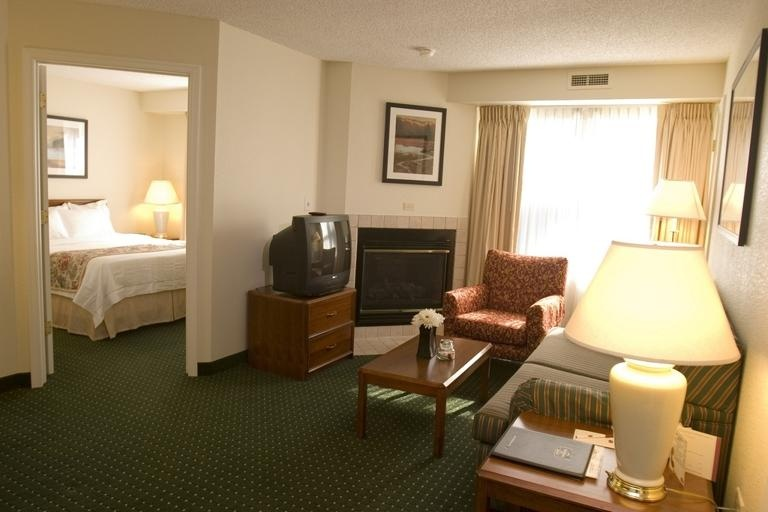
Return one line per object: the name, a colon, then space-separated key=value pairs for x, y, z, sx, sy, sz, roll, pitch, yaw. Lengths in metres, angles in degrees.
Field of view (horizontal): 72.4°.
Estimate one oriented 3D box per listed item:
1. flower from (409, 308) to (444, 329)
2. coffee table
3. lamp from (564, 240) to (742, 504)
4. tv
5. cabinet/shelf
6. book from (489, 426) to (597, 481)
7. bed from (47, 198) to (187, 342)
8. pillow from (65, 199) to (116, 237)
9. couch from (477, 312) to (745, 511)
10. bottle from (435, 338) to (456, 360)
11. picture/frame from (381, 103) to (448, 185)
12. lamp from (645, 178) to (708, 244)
flower: x=0.336 y=0.512 z=4.269 sx=0.205 sy=0.120 sz=0.200 roll=4 pitch=-4 yaw=-37
coffee table: x=0.386 y=1.083 z=4.452 sx=0.791 sy=0.533 sz=1.227 roll=6 pitch=9 yaw=31
lamp: x=1.262 y=0.550 z=2.534 sx=0.756 sy=1.217 sz=0.352 roll=4 pitch=14 yaw=18
tv: x=-0.648 y=0.000 z=5.373 sx=0.746 sy=0.977 sz=1.024 roll=3 pitch=6 yaw=28
cabinet/shelf: x=-0.846 y=0.744 z=5.374 sx=0.903 sy=0.710 sz=0.995 roll=8 pitch=9 yaw=42
book: x=0.856 y=1.021 z=2.748 sx=0.306 sy=0.021 sz=0.217 roll=8 pitch=20 yaw=31
bed: x=-3.545 y=0.025 z=6.723 sx=2.404 sy=1.222 sz=1.516 roll=11 pitch=14 yaw=37
pillow: x=-4.204 y=-0.552 z=7.491 sx=0.179 sy=0.477 sz=0.669 roll=-15 pitch=0 yaw=26
couch: x=1.470 y=0.889 z=3.330 sx=1.031 sy=0.862 sz=2.044 roll=12 pitch=16 yaw=27
bottle: x=0.504 y=0.766 z=4.310 sx=0.149 sy=0.145 sz=0.156 roll=0 pitch=-3 yaw=6
picture/frame: x=0.317 y=-1.336 z=6.114 sx=1.037 sy=1.131 sz=0.046 roll=1 pitch=7 yaw=-25
lamp: x=3.030 y=-0.453 z=5.447 sx=0.510 sy=0.674 sz=0.868 roll=7 pitch=14 yaw=29
